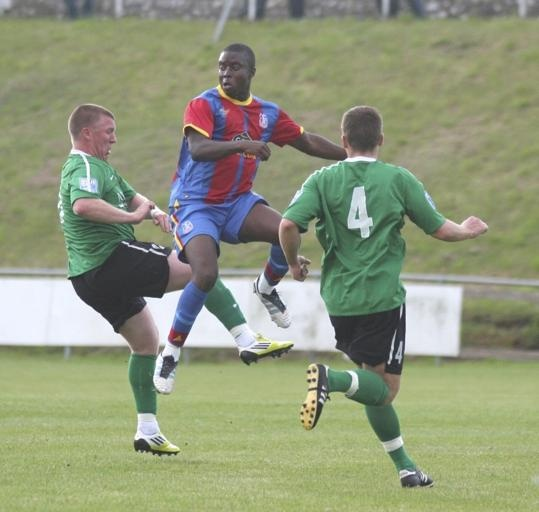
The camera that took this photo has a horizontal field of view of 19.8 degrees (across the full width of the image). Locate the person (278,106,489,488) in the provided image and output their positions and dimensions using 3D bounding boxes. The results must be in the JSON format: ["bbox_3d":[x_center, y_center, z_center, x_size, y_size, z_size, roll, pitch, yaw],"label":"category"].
[{"bbox_3d":[0.803,0.060,13.454,1.399,2.712,0.628,-2,7,-18],"label":"person"}]

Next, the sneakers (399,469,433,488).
[{"bbox_3d":[1.263,1.905,13.372,0.331,0.138,0.115,1,0,-21],"label":"sneakers"}]

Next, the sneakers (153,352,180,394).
[{"bbox_3d":[-0.937,1.066,14.080,0.152,0.422,0.193,12,-37,-26],"label":"sneakers"}]
